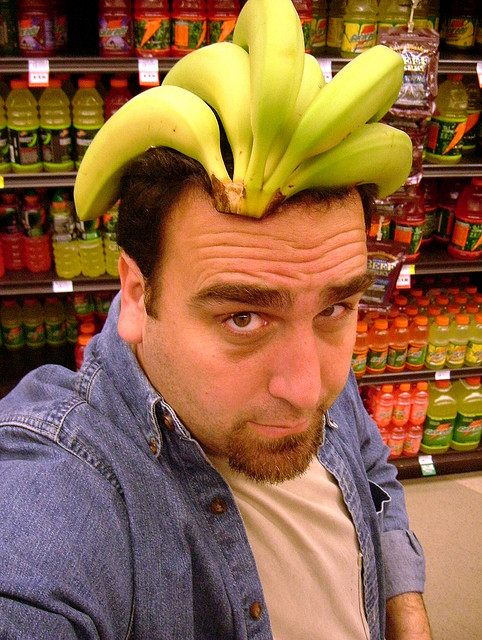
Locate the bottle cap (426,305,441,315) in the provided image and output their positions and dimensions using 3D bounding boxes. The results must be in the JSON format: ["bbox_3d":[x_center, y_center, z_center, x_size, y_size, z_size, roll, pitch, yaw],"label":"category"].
[{"bbox_3d":[1.057,-0.056,2.908,0.053,0.028,0.052,4,28,-9],"label":"bottle cap"}]

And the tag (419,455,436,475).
[{"bbox_3d":[1.098,0.865,3.141,0.111,0.014,0.141,-6,61,-5],"label":"tag"}]

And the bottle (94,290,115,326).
[{"bbox_3d":[-0.767,-0.081,2.979,0.110,0.275,0.296,2,19,-13],"label":"bottle"}]

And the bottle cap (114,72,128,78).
[{"bbox_3d":[-0.568,-1.168,2.525,0.059,0.026,0.040,5,19,-4],"label":"bottle cap"}]

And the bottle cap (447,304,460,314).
[{"bbox_3d":[1.169,-0.062,2.919,0.056,0.031,0.054,-9,19,-26],"label":"bottle cap"}]

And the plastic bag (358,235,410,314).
[{"bbox_3d":[0.672,-0.202,2.560,0.206,0.379,0.163,4,19,-6],"label":"plastic bag"}]

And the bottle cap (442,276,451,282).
[{"bbox_3d":[1.228,-0.245,3.179,0.046,0.028,0.062,13,20,19],"label":"bottle cap"}]

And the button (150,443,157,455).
[{"bbox_3d":[-0.127,0.189,0.776,0.004,0.015,0.009,1,-23,-42],"label":"button"}]

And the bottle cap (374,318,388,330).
[{"bbox_3d":[0.756,0.016,2.865,0.073,0.054,0.095,11,20,14],"label":"bottle cap"}]

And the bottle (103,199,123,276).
[{"bbox_3d":[-0.652,-0.428,2.785,0.164,0.412,0.161,2,11,0],"label":"bottle"}]

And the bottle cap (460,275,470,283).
[{"bbox_3d":[1.376,-0.244,3.272,0.059,0.043,0.059,1,26,3],"label":"bottle cap"}]

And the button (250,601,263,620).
[{"bbox_3d":[0.023,0.437,0.798,0.008,0.021,0.022,-11,36,40],"label":"button"}]

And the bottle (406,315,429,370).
[{"bbox_3d":[0.993,0.125,2.999,0.129,0.310,0.127,2,23,-1],"label":"bottle"}]

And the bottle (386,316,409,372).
[{"bbox_3d":[0.875,0.139,2.976,0.123,0.309,0.120,0,24,0],"label":"bottle"}]

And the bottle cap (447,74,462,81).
[{"bbox_3d":[1.073,-1.233,2.661,0.046,0.033,0.045,-3,36,0],"label":"bottle cap"}]

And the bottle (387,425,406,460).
[{"bbox_3d":[0.909,0.719,3.114,0.140,0.230,0.047,-1,20,-21],"label":"bottle"}]

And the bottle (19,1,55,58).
[{"bbox_3d":[-0.890,-1.276,2.315,0.141,0.248,0.175,-2,20,-21],"label":"bottle"}]

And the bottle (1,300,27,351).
[{"bbox_3d":[-1.330,0.039,3.113,0.131,0.307,0.081,-2,20,-22],"label":"bottle"}]

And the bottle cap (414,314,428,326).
[{"bbox_3d":[0.983,0.000,2.893,0.081,0.053,0.061,7,19,3],"label":"bottle cap"}]

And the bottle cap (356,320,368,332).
[{"bbox_3d":[0.642,0.035,2.816,0.045,0.063,0.090,12,20,17],"label":"bottle cap"}]

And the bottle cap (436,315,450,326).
[{"bbox_3d":[1.098,0.001,2.888,0.057,0.032,0.056,0,29,-25],"label":"bottle cap"}]

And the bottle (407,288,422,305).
[{"bbox_3d":[0.990,-0.138,3.039,0.086,0.079,0.087,4,20,23],"label":"bottle"}]

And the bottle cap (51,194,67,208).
[{"bbox_3d":[-0.914,-0.603,2.673,0.075,0.065,0.071,0,20,-19],"label":"bottle cap"}]

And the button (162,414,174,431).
[{"bbox_3d":[-0.105,0.149,0.770,0.007,0.021,0.021,-20,-3,-23],"label":"button"}]

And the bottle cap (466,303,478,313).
[{"bbox_3d":[1.292,-0.072,2.967,0.050,0.028,0.051,12,23,27],"label":"bottle cap"}]

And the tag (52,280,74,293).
[{"bbox_3d":[-0.900,-0.165,2.680,0.072,0.065,0.017,0,-4,-7],"label":"tag"}]

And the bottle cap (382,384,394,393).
[{"bbox_3d":[0.835,0.388,3.009,0.081,0.045,0.042,-2,21,-24],"label":"bottle cap"}]

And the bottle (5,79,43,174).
[{"bbox_3d":[-1.009,-0.888,2.477,0.151,0.379,0.232,-2,21,-23],"label":"bottle"}]

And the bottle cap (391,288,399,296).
[{"bbox_3d":[0.901,-0.161,3.089,0.041,0.054,0.018,4,-20,2],"label":"bottle cap"}]

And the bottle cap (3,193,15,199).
[{"bbox_3d":[-1.162,-0.623,2.661,0.031,0.019,0.031,2,10,-1],"label":"bottle cap"}]

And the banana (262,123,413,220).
[{"bbox_3d":[0.142,-0.220,0.716,0.251,0.111,0.065,-27,56,-39],"label":"banana"}]

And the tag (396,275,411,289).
[{"bbox_3d":[0.836,-0.202,2.746,0.065,0.043,0.035,0,42,3],"label":"tag"}]

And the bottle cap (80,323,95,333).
[{"bbox_3d":[-0.834,0.043,2.877,0.078,0.054,0.071,3,19,-9],"label":"bottle cap"}]

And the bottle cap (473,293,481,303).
[{"bbox_3d":[1.342,-0.129,3.018,0.039,0.046,0.093,11,20,14],"label":"bottle cap"}]

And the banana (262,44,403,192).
[{"bbox_3d":[0.091,-0.208,0.615,0.054,0.070,0.259,16,47,24],"label":"banana"}]

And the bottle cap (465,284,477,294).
[{"bbox_3d":[1.320,-0.185,3.038,0.054,0.029,0.053,1,25,3],"label":"bottle cap"}]

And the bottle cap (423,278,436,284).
[{"bbox_3d":[1.102,-0.227,3.125,0.043,0.024,0.042,-2,26,-6],"label":"bottle cap"}]

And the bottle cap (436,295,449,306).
[{"bbox_3d":[1.128,-0.111,2.956,0.058,0.033,0.057,-2,27,-2],"label":"bottle cap"}]

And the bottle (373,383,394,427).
[{"bbox_3d":[0.817,0.489,3.024,0.112,0.262,0.061,-2,20,-22],"label":"bottle"}]

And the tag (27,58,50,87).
[{"bbox_3d":[-0.862,-1.063,2.266,0.085,0.113,0.154,-1,20,-21],"label":"tag"}]

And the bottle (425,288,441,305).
[{"bbox_3d":[1.097,-0.150,3.030,0.085,0.080,0.086,10,36,20],"label":"bottle"}]

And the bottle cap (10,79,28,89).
[{"bbox_3d":[-0.983,-1.058,2.363,0.067,0.037,0.054,-1,20,-21],"label":"bottle cap"}]

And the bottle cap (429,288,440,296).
[{"bbox_3d":[1.104,-0.159,3.035,0.056,0.040,0.049,11,20,15],"label":"bottle cap"}]

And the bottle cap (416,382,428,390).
[{"bbox_3d":[1.031,0.374,3.007,0.068,0.035,0.044,1,20,-15],"label":"bottle cap"}]

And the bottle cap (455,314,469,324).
[{"bbox_3d":[1.225,-0.006,2.923,0.096,0.052,0.055,2,19,-11],"label":"bottle cap"}]

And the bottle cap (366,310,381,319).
[{"bbox_3d":[0.714,-0.033,2.829,0.044,0.024,0.044,3,16,10],"label":"bottle cap"}]
